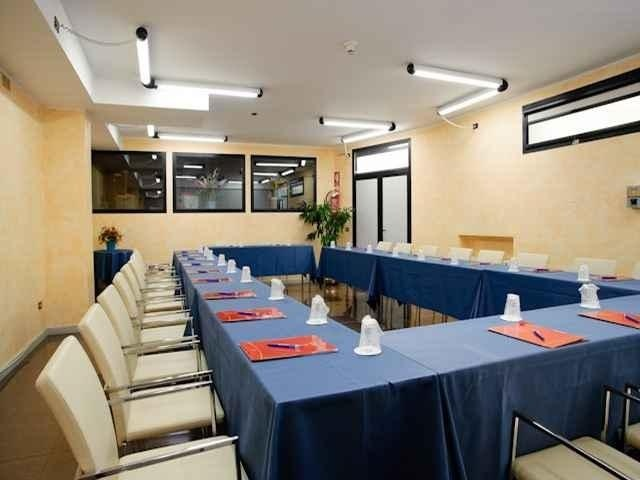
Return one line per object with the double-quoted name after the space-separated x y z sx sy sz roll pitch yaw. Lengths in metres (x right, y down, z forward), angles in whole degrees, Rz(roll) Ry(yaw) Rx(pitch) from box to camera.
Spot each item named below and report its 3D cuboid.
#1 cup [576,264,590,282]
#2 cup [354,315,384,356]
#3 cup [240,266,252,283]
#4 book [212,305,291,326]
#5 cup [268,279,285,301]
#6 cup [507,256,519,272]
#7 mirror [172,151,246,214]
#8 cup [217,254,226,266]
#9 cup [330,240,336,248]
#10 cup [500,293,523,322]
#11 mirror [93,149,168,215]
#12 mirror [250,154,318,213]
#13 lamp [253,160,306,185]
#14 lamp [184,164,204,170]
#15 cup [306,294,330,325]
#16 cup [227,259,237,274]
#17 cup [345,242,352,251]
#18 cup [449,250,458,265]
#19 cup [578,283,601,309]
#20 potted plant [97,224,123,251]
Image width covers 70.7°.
2.591 0.330 4.441 0.120 0.149 0.130 0 2 0 "cup"
0.282 0.552 2.654 0.190 0.244 0.203 0 -4 0 "cup"
-0.737 0.344 4.532 0.137 0.177 0.142 0 5 0 "cup"
-0.500 0.518 3.378 0.606 0.053 0.551 -5 3 -8 "book"
-0.360 0.420 3.797 0.143 0.180 0.154 2 -2 0 "cup"
2.272 0.289 5.305 0.138 0.165 0.144 1 -1 0 "cup"
-2.490 -1.264 9.862 1.247 1.192 0.049 -1 3 -24 "mirror"
-1.284 0.246 5.820 0.148 0.184 0.158 -2 2 0 "cup"
0.270 0.094 8.960 0.123 0.151 0.125 1 -4 0 "cup"
1.366 0.479 3.167 0.160 0.202 0.177 1 -1 -4 "cup"
-3.972 -1.183 9.313 1.243 1.178 0.087 -1 2 -16 "mirror"
-0.888 -1.318 10.474 1.258 1.140 0.054 -1 2 -31 "mirror"
-0.941 -1.574 10.460 1.269 0.529 0.122 -5 9 -24 "lamp"
-2.740 -1.574 9.805 0.394 0.100 0.029 -4 9 -20 "lamp"
-0.001 0.498 3.176 0.164 0.205 0.172 0 -4 0 "cup"
-1.016 0.312 5.232 0.146 0.219 0.158 1 -3 0 "cup"
0.527 0.125 7.760 0.135 0.166 0.143 -1 6 0 "cup"
1.692 0.228 5.717 0.117 0.185 0.122 -2 10 0 "cup"
2.056 0.407 3.466 0.158 0.251 0.210 -2 -2 17 "cup"
-3.804 -0.066 8.220 0.451 0.541 0.478 3 -3 -16 "potted plant"
